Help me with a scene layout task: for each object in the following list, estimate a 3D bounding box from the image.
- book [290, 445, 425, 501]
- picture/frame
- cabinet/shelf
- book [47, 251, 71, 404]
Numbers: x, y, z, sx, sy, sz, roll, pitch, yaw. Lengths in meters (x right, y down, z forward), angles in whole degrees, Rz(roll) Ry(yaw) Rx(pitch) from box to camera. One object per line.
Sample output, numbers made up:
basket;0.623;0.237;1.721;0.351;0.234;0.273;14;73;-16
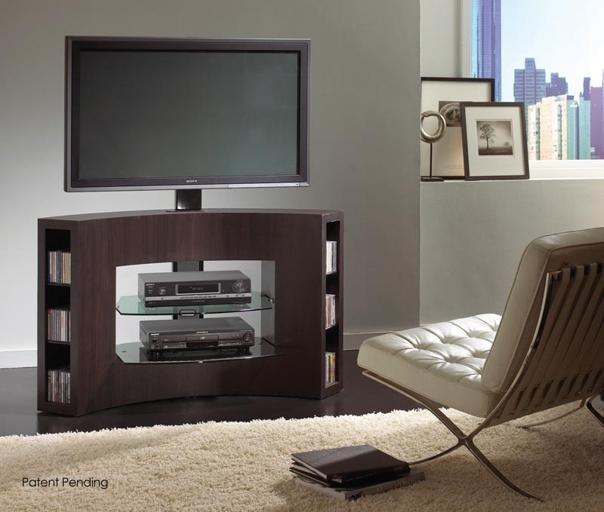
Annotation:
book;0.216;0.835;2.392;0.237;0.063;0.239;0;1;-41
picture/frame;1.293;-0.951;4.718;0.774;0.822;0.280;-1;1;-12
cabinet/shelf;-0.592;0.280;3.496;1.579;1.070;0.552;-2;6;-15
book;-1.264;0.374;3.199;0.176;0.798;0.074;2;7;25
